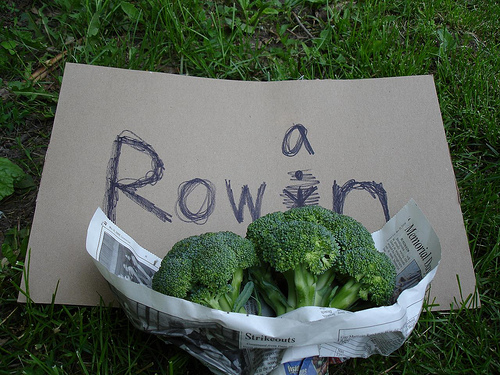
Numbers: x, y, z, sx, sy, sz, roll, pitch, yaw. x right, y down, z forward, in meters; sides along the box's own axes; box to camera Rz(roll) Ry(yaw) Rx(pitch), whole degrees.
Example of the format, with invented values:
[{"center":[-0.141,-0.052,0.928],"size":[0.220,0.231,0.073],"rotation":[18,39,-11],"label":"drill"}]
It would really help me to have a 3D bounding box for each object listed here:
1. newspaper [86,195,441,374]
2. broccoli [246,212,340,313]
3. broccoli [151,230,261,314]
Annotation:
[{"center":[0.067,0.354,1.150],"size":[0.952,0.451,0.514],"rotation":[1,34,-7],"label":"newspaper"},{"center":[0.121,0.251,1.251],"size":[0.239,0.216,0.326],"rotation":[10,79,-9],"label":"broccoli"},{"center":[-0.121,0.210,1.188],"size":[0.221,0.226,0.202],"rotation":[-2,93,39],"label":"broccoli"}]
